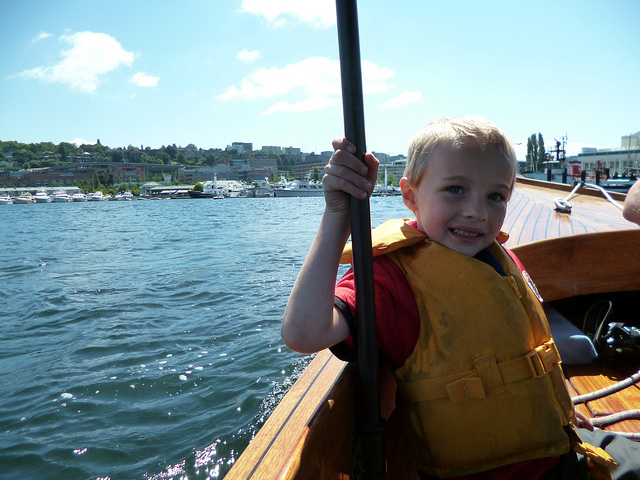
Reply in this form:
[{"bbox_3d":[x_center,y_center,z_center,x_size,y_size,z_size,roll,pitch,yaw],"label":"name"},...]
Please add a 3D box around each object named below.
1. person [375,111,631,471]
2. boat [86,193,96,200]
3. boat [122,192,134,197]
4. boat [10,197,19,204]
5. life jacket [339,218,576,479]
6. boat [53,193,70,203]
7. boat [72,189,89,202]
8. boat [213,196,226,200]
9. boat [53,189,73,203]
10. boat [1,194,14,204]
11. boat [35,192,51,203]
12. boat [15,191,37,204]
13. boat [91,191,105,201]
[{"bbox_3d":[0.606,0.222,1.859,0.773,1.375,0.465,-3,12,6],"label":"person"},{"bbox_3d":[-41.287,-7.932,86.654,1.862,0.955,2.290,-1,1,-9],"label":"boat"},{"bbox_3d":[-36.909,-8.884,91.990,1.115,0.736,1.651,-2,7,-14],"label":"boat"},{"bbox_3d":[-46.576,-6.222,72.946,1.192,0.660,1.665,-6,4,-37],"label":"boat"},{"bbox_3d":[0.590,0.389,1.861,0.714,0.914,0.402,-6,12,-8],"label":"life jacket"},{"bbox_3d":[-42.613,-7.274,79.285,1.896,1.374,3.484,-1,2,-21],"label":"boat"},{"bbox_3d":[-43.268,-8.031,86.340,2.424,2.175,7.734,-4,9,-14],"label":"boat"},{"bbox_3d":[-16.273,-6.890,77.564,1.152,0.631,1.946,-7,10,-43],"label":"boat"},{"bbox_3d":[-43.316,-7.623,81.165,2.174,2.784,5.829,-1,0,-15],"label":"boat"},{"bbox_3d":[-45.984,-5.799,70.586,1.336,1.024,2.916,-11,14,-27],"label":"boat"},{"bbox_3d":[-45.319,-7.103,78.370,1.773,2.620,5.774,-4,3,-29],"label":"boat"},{"bbox_3d":[-47.162,-6.706,76.773,2.845,1.105,14.874,-13,15,-31],"label":"boat"},{"bbox_3d":[-39.788,-7.900,86.237,1.138,1.441,3.665,-1,1,-18],"label":"boat"}]
